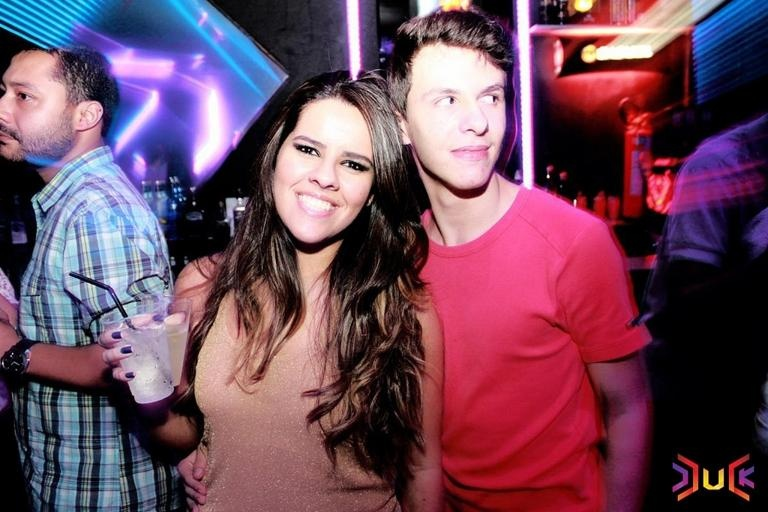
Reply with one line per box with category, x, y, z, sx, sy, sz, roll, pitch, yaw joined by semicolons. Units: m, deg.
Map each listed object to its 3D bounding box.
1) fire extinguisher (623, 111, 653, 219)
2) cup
fire extinguisher;2.451;-0.857;5.739;0.186;1.059;0.229;3;21;13
cup;-1.170;0.414;2.941;0.469;0.496;0.405;-1;8;-20
